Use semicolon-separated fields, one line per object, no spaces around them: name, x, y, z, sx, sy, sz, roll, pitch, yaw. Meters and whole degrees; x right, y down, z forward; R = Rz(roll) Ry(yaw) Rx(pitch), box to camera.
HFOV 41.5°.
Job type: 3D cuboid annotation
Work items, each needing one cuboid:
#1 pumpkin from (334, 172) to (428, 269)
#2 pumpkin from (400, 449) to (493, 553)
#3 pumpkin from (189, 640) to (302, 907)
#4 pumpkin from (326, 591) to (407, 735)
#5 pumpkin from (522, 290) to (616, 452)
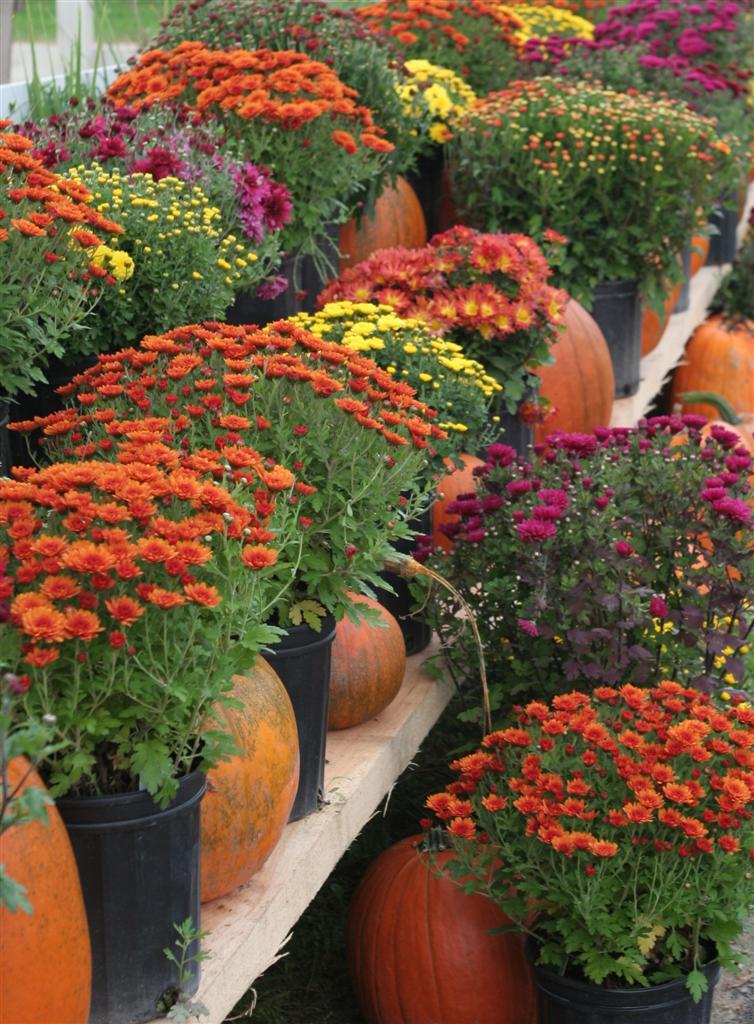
pumpkin;0.030;-0.992;3.397;0.196;0.286;0.458;6;21;17
pumpkin;0.179;-0.025;2.451;0.231;0.259;0.240;6;-6;-42
pumpkin;-0.176;0.373;1.352;0.084;0.316;0.216;7;22;16
pumpkin;-0.023;0.312;1.980;0.090;0.269;0.218;20;29;41
pumpkin;0.646;-0.447;3.326;0.231;0.474;0.797;6;21;16
